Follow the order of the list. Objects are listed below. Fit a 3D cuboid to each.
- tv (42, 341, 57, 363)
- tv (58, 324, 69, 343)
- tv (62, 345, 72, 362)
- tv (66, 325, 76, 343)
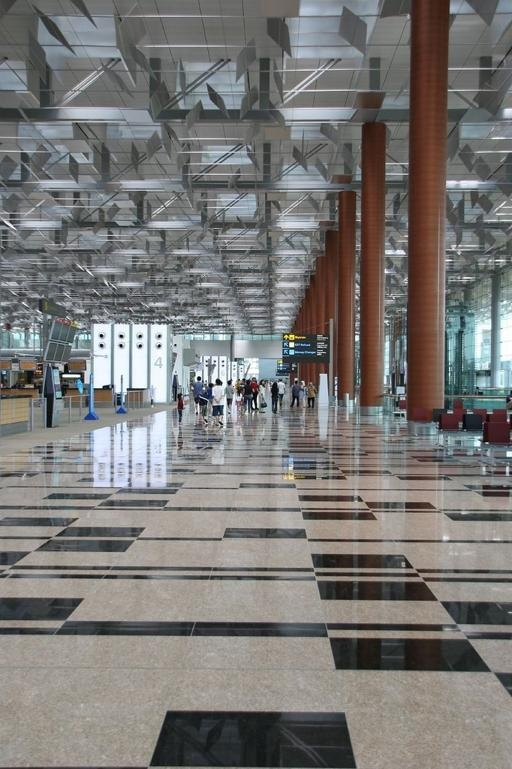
[{"bbox_3d":[-7.489,-1.234,21.149,0.390,0.596,1.523,0,0,-12],"label":"tv"},{"bbox_3d":[-7.323,-1.998,22.091,0.101,0.479,0.463,6,-3,6],"label":"tv"},{"bbox_3d":[-7.642,-1.285,23.050,0.139,0.668,0.553,8,12,13],"label":"tv"},{"bbox_3d":[-7.398,-2.033,22.732,0.136,0.571,0.549,11,-1,2],"label":"tv"}]
